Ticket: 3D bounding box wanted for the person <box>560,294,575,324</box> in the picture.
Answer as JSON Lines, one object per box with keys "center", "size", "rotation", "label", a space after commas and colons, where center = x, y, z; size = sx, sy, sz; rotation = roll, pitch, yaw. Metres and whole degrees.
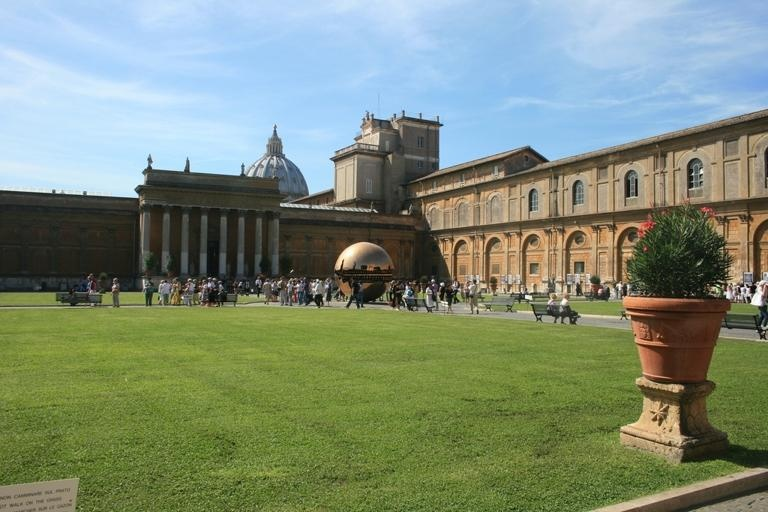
{"center": [8.208, 2.360, 29.333], "size": [0.756, 1.115, 1.677], "rotation": [3, 1, 4], "label": "person"}
